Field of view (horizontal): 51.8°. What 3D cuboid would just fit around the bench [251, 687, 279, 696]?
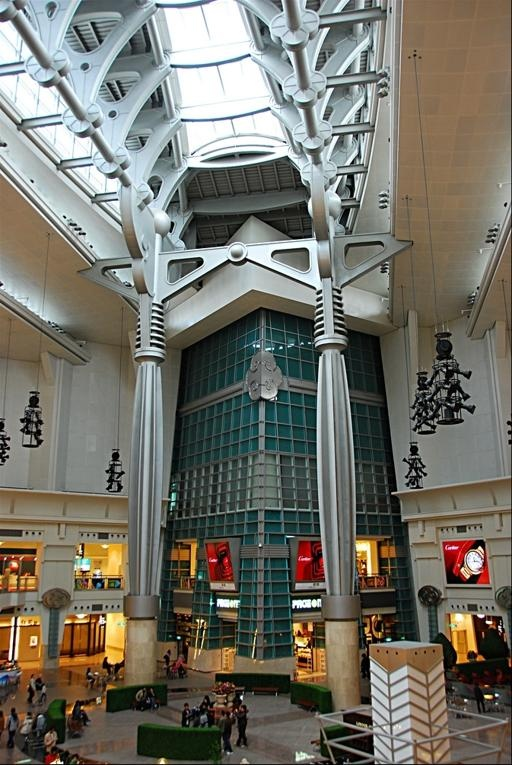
[{"bbox_3d":[0.304,9.474,16.122,0.810,0.229,0.228,-1,-15,-3],"label":"bench"}]

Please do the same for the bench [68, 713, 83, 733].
[{"bbox_3d":[-3.943,7.539,11.547,0.289,0.363,0.284,17,-34,-31],"label":"bench"}]
